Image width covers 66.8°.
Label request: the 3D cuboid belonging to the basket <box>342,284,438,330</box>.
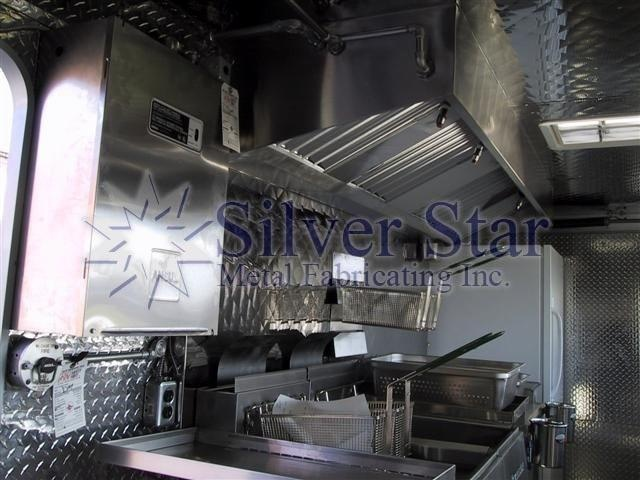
[{"bbox_3d":[0.368,0.336,2.534,0.329,0.154,0.281,2,-3,12],"label":"basket"}]

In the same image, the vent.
[{"bbox_3d":[0.499,-0.367,2.923,0.989,0.293,2.067,-7,-12,32],"label":"vent"}]

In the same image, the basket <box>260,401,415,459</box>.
[{"bbox_3d":[0.032,0.753,1.927,0.603,0.216,0.282,-3,-11,13],"label":"basket"}]
